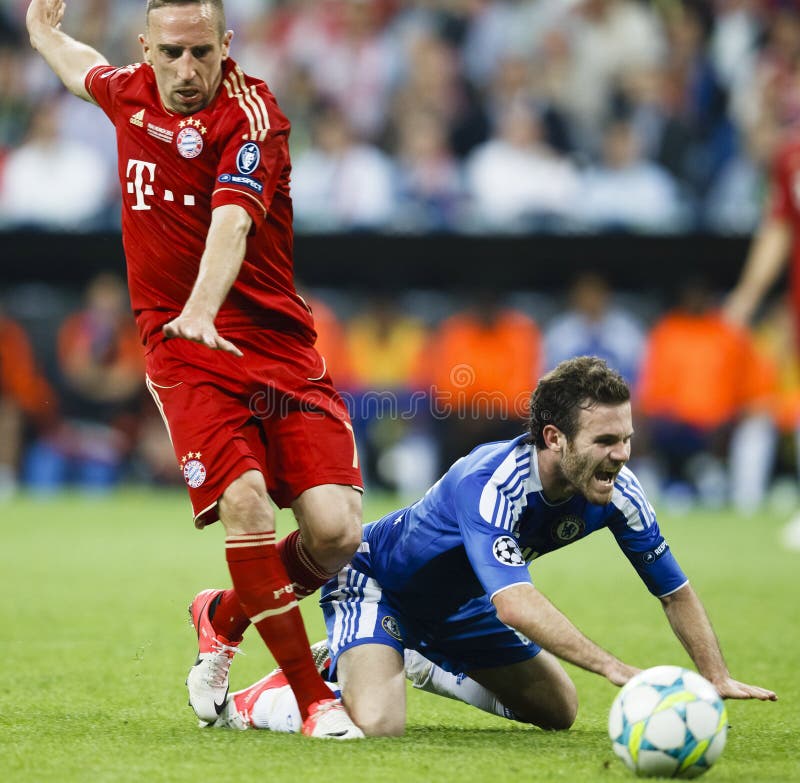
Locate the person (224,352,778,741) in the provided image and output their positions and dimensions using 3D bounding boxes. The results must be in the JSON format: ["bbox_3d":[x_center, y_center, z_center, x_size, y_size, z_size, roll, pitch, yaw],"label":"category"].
[{"bbox_3d":[0.298,0.569,3.960,1.507,1.317,0.791,3,12,19],"label":"person"}]

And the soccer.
[{"bbox_3d":[0.690,0.892,3.397,0.318,0.279,0.282,-3,49,1],"label":"soccer"}]

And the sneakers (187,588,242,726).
[{"bbox_3d":[-0.635,0.903,4.164,0.189,0.444,0.149,-33,-40,30],"label":"sneakers"}]
